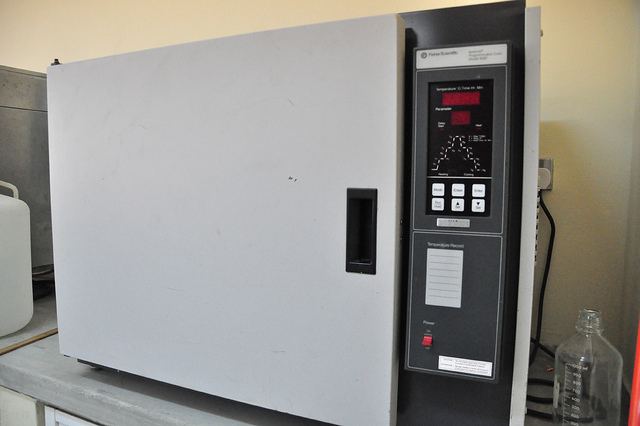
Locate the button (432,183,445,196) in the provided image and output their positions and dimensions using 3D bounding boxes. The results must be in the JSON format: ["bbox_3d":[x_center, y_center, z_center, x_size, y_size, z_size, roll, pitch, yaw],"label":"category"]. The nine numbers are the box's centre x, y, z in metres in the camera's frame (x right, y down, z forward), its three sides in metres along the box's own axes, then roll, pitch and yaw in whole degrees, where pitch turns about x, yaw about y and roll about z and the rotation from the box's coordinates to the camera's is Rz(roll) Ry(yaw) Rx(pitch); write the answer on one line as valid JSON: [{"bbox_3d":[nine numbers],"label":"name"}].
[{"bbox_3d":[0.333,-0.066,1.581,0.034,0.035,0.004,1,0,19],"label":"button"}]

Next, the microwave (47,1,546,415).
[{"bbox_3d":[-0.073,0.022,1.673,1.321,0.940,0.681,2,3,27],"label":"microwave"}]

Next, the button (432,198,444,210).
[{"bbox_3d":[0.331,-0.025,1.582,0.031,0.022,0.006,4,2,2],"label":"button"}]

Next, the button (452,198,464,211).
[{"bbox_3d":[0.386,-0.023,1.572,0.034,0.034,0.003,1,0,19],"label":"button"}]

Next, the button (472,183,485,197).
[{"bbox_3d":[0.440,-0.063,1.561,0.036,0.037,0.004,1,0,16],"label":"button"}]
